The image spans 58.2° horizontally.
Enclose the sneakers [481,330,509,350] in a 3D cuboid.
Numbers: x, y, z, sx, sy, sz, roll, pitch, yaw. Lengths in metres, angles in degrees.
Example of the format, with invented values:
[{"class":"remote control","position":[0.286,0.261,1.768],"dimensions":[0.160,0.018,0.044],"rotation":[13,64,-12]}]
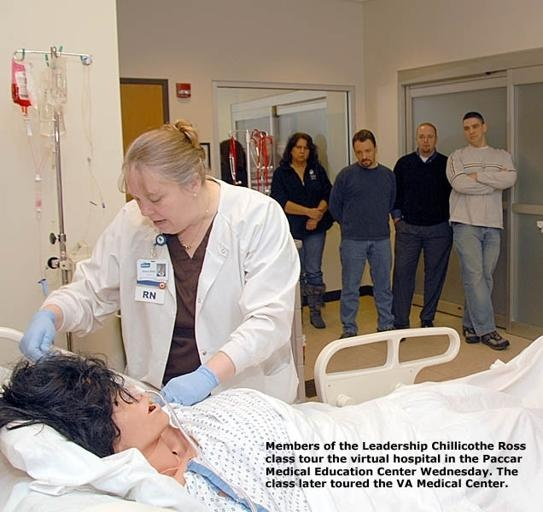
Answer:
[{"class":"sneakers","position":[1.777,0.656,3.974],"dimensions":[0.092,0.137,0.280],"rotation":[-16,13,-28]}]

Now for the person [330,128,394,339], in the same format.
[{"class":"person","position":[0.787,-0.168,4.191],"dimensions":[0.582,1.768,0.388],"rotation":[-8,14,-29]}]

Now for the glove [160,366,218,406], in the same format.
[{"class":"glove","position":[-0.214,0.337,1.263],"dimensions":[0.136,0.086,0.045],"rotation":[-40,-16,-13]}]

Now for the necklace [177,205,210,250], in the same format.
[{"class":"necklace","position":[-0.260,-0.093,1.548],"dimensions":[0.090,0.141,0.034],"rotation":[2,11,16]}]

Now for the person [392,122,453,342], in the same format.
[{"class":"person","position":[1.311,-0.238,4.207],"dimensions":[0.506,1.752,0.435],"rotation":[2,13,11]}]

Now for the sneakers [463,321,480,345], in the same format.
[{"class":"sneakers","position":[1.668,0.663,4.080],"dimensions":[0.056,0.087,0.185],"rotation":[-2,14,0]}]

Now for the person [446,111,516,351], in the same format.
[{"class":"person","position":[1.667,-0.071,3.929],"dimensions":[0.548,1.580,0.356],"rotation":[4,13,22]}]
